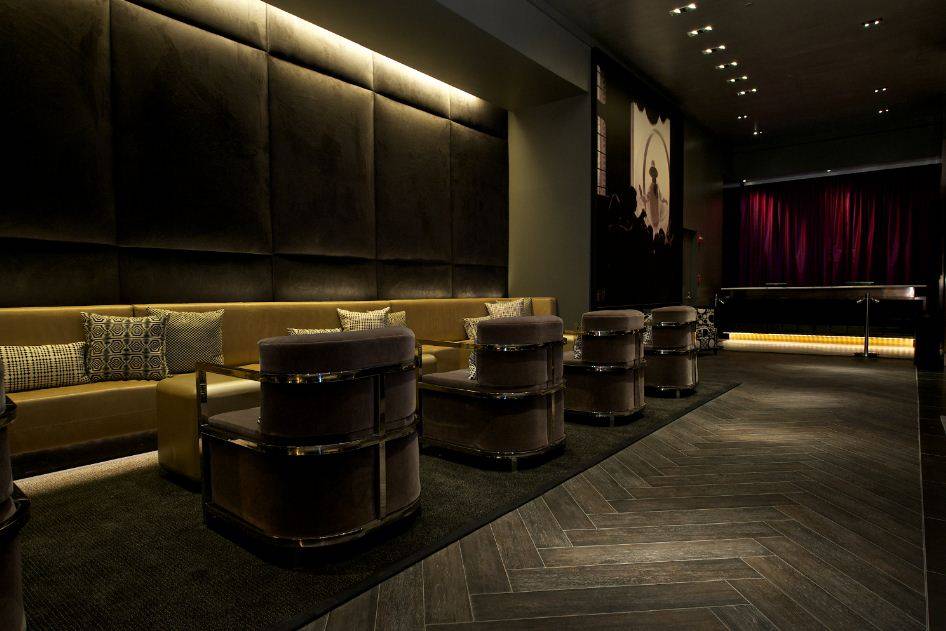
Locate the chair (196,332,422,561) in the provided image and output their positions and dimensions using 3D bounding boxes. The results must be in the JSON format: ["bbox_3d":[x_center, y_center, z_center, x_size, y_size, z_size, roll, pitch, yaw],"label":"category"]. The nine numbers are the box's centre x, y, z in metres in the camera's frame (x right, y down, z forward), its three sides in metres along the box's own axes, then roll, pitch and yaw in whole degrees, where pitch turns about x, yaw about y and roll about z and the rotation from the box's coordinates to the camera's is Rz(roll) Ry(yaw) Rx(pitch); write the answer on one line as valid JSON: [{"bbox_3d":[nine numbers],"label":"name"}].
[{"bbox_3d":[-0.903,0.623,4.040,1.187,1.446,1.385,1,1,37],"label":"chair"}]

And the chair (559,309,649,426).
[{"bbox_3d":[1.221,0.448,5.873,0.966,1.072,0.936,-2,4,-38],"label":"chair"}]

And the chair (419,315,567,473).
[{"bbox_3d":[0.244,0.561,4.979,1.067,1.179,1.059,2,2,39],"label":"chair"}]
